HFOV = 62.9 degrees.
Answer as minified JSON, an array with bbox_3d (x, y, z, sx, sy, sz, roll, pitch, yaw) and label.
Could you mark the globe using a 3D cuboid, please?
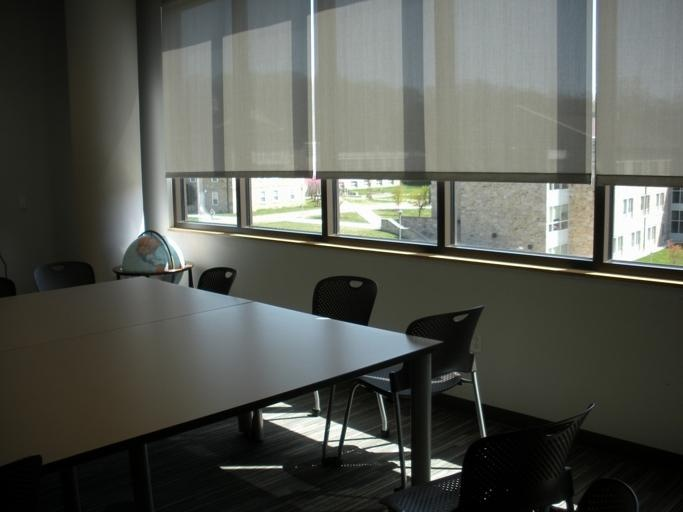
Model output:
[{"bbox_3d":[-1.862,0.060,5.530,0.640,0.561,0.435,2,6,-20],"label":"globe"}]
